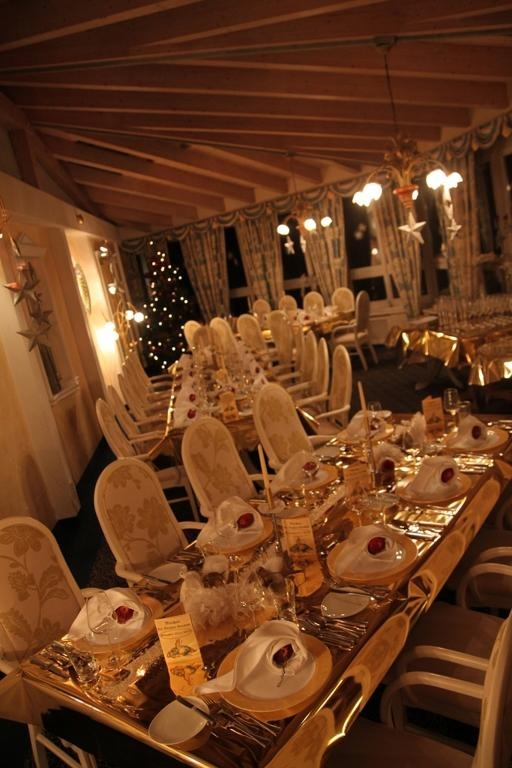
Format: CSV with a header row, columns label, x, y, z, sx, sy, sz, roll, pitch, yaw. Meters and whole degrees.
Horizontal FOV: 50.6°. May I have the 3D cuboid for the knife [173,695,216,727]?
label,x,y,z,sx,sy,sz,roll,pitch,yaw
knife,-0.130,0.641,1.105,0.027,0.031,0.220,-17,-6,-22

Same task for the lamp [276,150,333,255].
label,x,y,z,sx,sy,sz,roll,pitch,yaw
lamp,0.820,-3.017,8.916,0.980,1.718,0.848,-13,14,-37

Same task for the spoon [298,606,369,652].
label,x,y,z,sx,sy,sz,roll,pitch,yaw
spoon,0.175,0.570,1.254,0.104,0.028,0.058,16,26,33

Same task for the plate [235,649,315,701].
label,x,y,z,sx,sy,sz,roll,pitch,yaw
plate,0.043,0.578,1.079,0.164,0.042,0.095,-16,11,-12

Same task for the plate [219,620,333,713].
label,x,y,z,sx,sy,sz,roll,pitch,yaw
plate,0.048,0.583,1.088,0.164,0.054,0.160,-19,18,-26

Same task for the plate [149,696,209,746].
label,x,y,z,sx,sy,sz,roll,pitch,yaw
plate,-0.147,0.660,1.063,0.115,0.023,0.126,-12,10,8

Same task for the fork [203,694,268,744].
label,x,y,z,sx,sy,sz,roll,pitch,yaw
fork,-0.046,0.634,1.037,0.043,0.023,0.161,-28,13,-39
